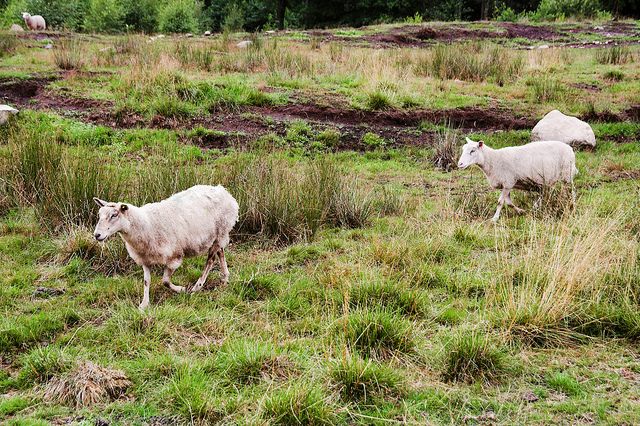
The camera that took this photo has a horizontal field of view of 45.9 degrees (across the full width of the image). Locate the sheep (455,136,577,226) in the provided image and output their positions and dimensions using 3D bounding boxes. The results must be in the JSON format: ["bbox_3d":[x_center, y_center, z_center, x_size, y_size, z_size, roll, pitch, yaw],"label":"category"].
[{"bbox_3d":[4.327,-0.781,16.281,2.549,1.987,1.006,-6,14,0],"label":"sheep"}]

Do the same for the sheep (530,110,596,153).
[{"bbox_3d":[5.984,-2.019,18.536,0.993,0.622,1.418,-10,33,-13],"label":"sheep"}]

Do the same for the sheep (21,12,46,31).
[{"bbox_3d":[-11.310,-7.580,29.785,0.730,0.685,1.321,-1,20,-20],"label":"sheep"}]

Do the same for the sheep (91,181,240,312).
[{"bbox_3d":[-2.718,0.645,14.308,1.323,2.623,3.034,8,15,41],"label":"sheep"}]
